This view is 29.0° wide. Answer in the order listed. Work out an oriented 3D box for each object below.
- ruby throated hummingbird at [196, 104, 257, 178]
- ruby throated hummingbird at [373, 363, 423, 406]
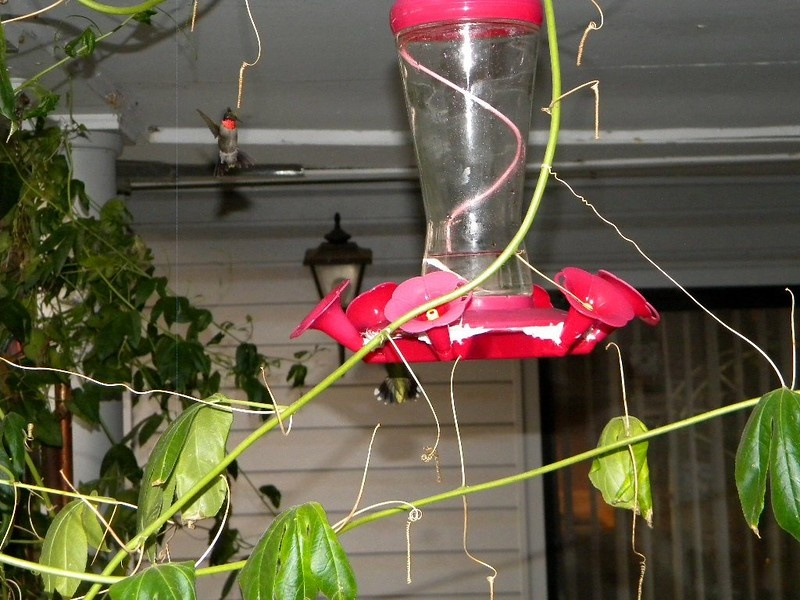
[{"bbox_3d":[-0.483,-0.441,4.294,0.146,0.139,0.187,9,-73,30],"label":"ruby throated hummingbird"},{"bbox_3d":[-0.005,0.226,4.480,0.137,0.204,0.128,-1,-65,-3],"label":"ruby throated hummingbird"}]
